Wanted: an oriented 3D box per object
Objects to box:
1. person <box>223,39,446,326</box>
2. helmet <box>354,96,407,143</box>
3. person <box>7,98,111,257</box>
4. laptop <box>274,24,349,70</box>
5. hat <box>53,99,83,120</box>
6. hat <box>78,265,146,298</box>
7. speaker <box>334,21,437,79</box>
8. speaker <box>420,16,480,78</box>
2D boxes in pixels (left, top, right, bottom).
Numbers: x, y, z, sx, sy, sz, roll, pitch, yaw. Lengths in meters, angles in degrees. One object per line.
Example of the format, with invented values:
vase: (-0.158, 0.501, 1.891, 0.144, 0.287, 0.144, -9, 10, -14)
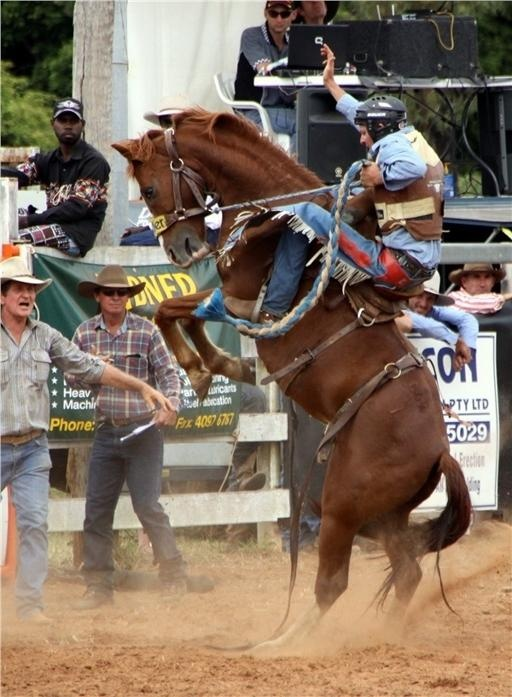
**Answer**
person: (0.574, -0.849, 7.203, 0.844, 1.471, 0.631, 6, 9, 38)
helmet: (0.670, -1.182, 7.114, 0.266, 0.247, 0.204, 5, 10, 14)
person: (-1.354, -1.138, 9.247, 0.719, 1.059, 0.720, -1, 7, -9)
laptop: (0.502, -2.261, 10.321, 0.538, 0.367, 0.379, -1, 8, -12)
hat: (-1.299, -1.618, 9.360, 0.128, 0.115, 0.201, 3, -9, -5)
hat: (-0.945, -0.398, 8.716, 0.244, 0.102, 0.267, -2, -15, -10)
speaker: (1.083, -2.366, 11.324, 0.636, 0.392, 0.615, -4, 8, -33)
speaker: (1.639, -2.463, 11.338, 0.568, 0.527, 0.304, 0, -2, -27)
